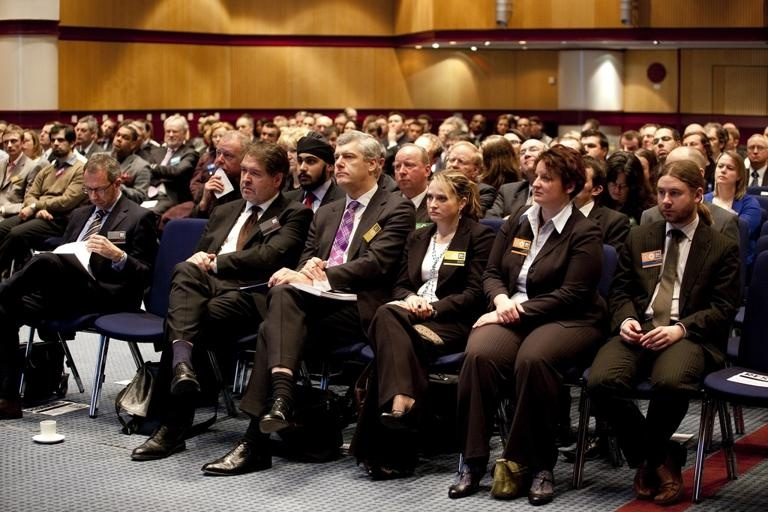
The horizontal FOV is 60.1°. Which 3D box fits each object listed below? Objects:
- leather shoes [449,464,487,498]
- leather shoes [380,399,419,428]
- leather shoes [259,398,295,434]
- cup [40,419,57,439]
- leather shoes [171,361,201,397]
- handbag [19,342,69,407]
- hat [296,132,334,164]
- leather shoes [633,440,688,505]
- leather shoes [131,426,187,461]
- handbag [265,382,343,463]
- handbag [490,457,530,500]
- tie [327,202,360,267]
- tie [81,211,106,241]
[{"bbox_3d":[0.445,1.199,3.551,0.094,0.123,0.278,-1,0,36],"label":"leather shoes"},{"bbox_3d":[0.087,0.884,3.626,0.091,0.134,0.285,0,4,19],"label":"leather shoes"},{"bbox_3d":[-0.589,0.906,3.663,0.155,0.265,0.258,0,9,2],"label":"leather shoes"},{"bbox_3d":[-2.083,1.081,4.136,0.094,0.100,0.100,2,2,0],"label":"cup"},{"bbox_3d":[-1.150,0.717,3.855,0.119,0.133,0.263,-4,-18,-10],"label":"leather shoes"},{"bbox_3d":[-2.449,0.858,4.759,0.385,0.462,0.250,-3,9,-45],"label":"handbag"},{"bbox_3d":[-0.498,-0.746,4.816,0.227,0.128,0.197,16,-14,-32],"label":"hat"},{"bbox_3d":[1.452,1.136,3.488,0.145,0.188,0.422,-16,-1,28],"label":"leather shoes"},{"bbox_3d":[-1.310,1.117,3.981,0.127,0.162,0.359,2,0,39],"label":"leather shoes"},{"bbox_3d":[-0.401,1.013,4.055,0.446,0.478,0.352,-9,-1,17],"label":"handbag"},{"bbox_3d":[0.654,1.158,3.480,0.183,0.220,0.138,2,9,13],"label":"handbag"},{"bbox_3d":[-0.266,-0.133,4.338,0.121,0.590,0.100,17,-32,1],"label":"tie"},{"bbox_3d":[-2.138,-0.209,4.906,0.053,0.237,0.066,36,-21,0],"label":"tie"}]
